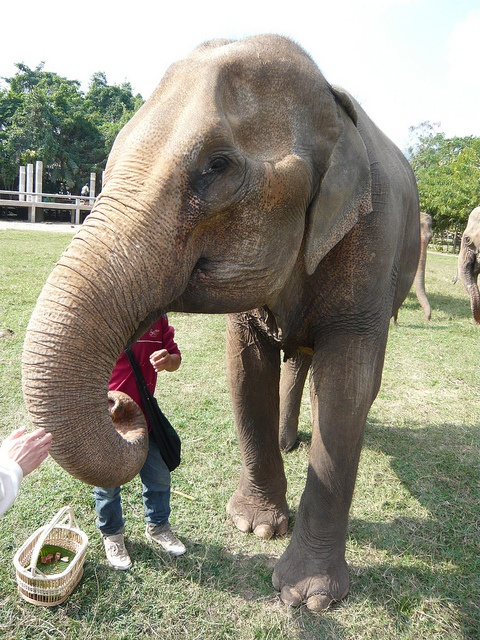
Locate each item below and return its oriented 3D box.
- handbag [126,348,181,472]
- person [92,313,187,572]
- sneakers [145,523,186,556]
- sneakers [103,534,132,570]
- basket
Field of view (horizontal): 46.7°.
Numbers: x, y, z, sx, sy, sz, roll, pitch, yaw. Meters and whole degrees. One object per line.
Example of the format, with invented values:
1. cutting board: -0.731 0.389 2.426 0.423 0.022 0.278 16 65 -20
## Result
1. handbag: -0.305 0.341 2.123 0.139 0.516 0.130 -6 20 43
2. person: -0.384 0.376 2.078 0.329 1.122 0.331 -3 10 -15
3. sneakers: -0.290 0.870 2.269 0.198 0.088 0.075 18 6 29
4. sneakers: -0.467 0.881 2.121 0.059 0.070 0.158 1 8 -29
5. basket: -0.633 0.771 2.005 0.210 0.275 0.334 12 24 8
